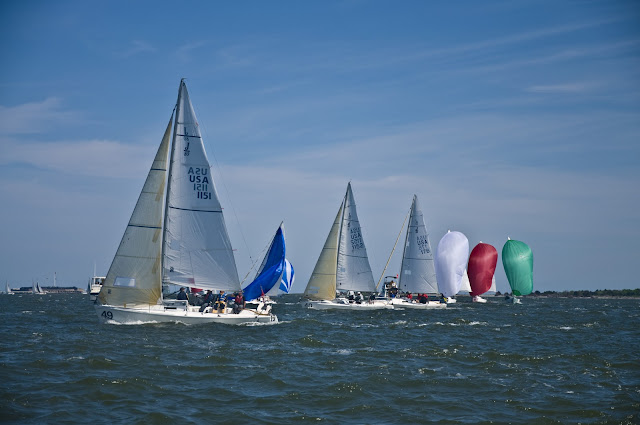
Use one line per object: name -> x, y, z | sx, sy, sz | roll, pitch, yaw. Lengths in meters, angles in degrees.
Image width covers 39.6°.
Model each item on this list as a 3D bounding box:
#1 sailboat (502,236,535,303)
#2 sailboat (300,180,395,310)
sailboat -> 18.287, 5.064, 81.418 | 2.513, 4.853, 0.954 | 2, -8, -3
sailboat -> 1.711, 2.458, 60.502 | 4.699, 8.452, 1.676 | 2, -8, -1
